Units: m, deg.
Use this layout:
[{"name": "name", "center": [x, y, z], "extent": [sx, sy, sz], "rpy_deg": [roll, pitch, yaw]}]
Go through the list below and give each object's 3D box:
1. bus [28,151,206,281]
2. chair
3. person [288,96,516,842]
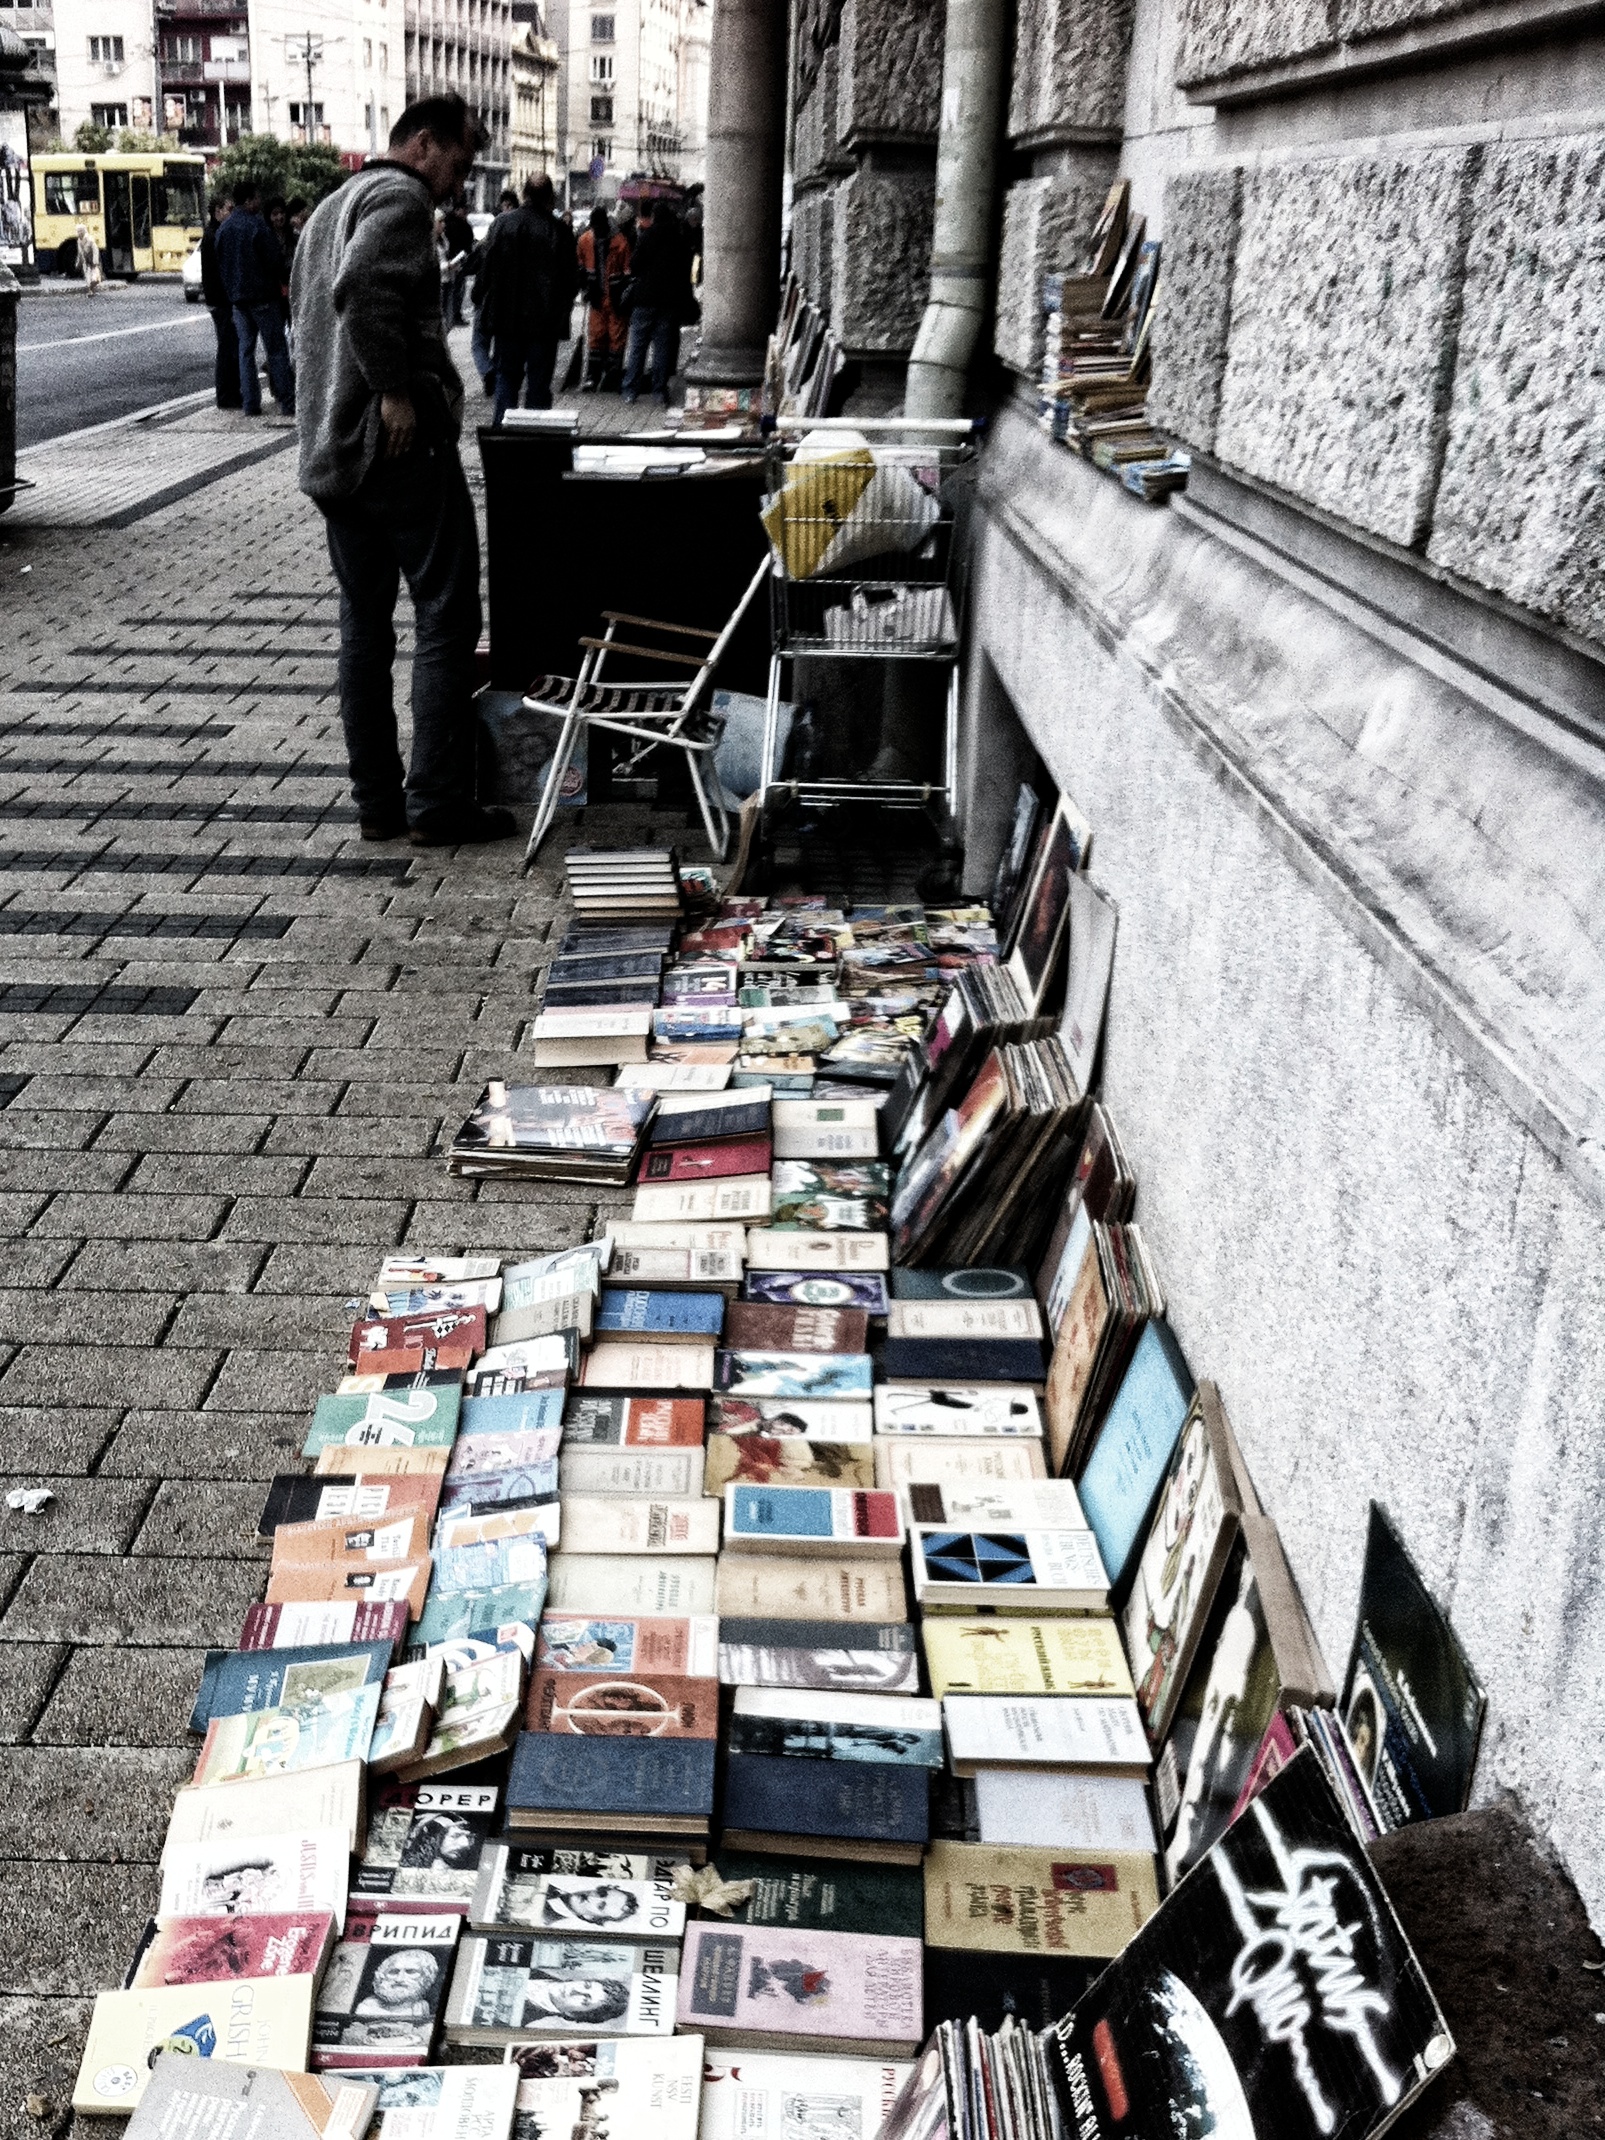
[{"name": "bus", "center": [-23.648, -29.702, 49.186], "extent": [6.179, 3.771, 1.905], "rpy_deg": [9, 25, 15]}, {"name": "chair", "center": [-0.670, -1.485, 6.049], "extent": [1.006, 0.963, 1.101], "rpy_deg": [-2, 25, -9]}, {"name": "person", "center": [-1.618, -2.168, 5.645], "extent": [0.632, 2.480, 0.650], "rpy_deg": [-18, 31, -38]}]
